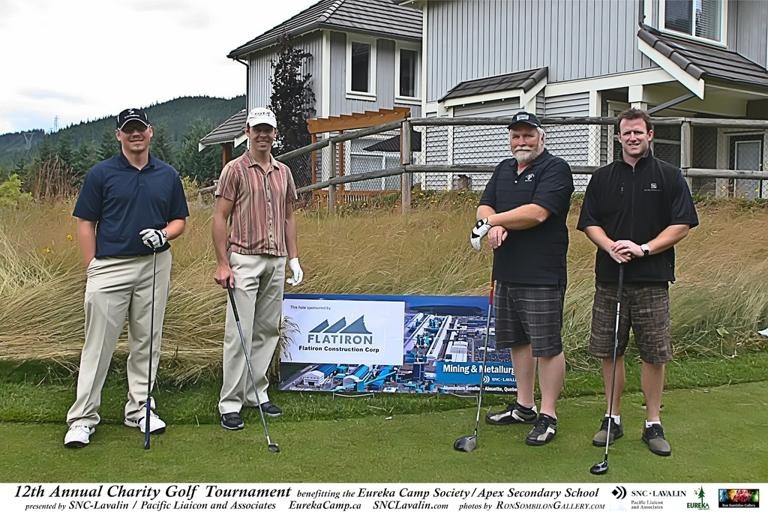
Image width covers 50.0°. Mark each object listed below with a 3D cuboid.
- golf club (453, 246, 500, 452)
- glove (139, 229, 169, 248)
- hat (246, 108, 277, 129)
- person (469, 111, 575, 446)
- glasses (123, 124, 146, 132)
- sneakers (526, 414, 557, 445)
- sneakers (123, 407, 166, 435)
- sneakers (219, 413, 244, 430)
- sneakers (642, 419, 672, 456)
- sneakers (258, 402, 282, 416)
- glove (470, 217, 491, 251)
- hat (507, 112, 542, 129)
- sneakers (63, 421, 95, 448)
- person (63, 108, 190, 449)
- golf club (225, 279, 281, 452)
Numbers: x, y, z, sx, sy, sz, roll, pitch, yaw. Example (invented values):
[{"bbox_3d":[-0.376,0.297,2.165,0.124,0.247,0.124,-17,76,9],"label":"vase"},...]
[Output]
[{"bbox_3d":[0.899,0.976,7.998,0.266,0.372,2.101,4,48,14],"label":"golf club"},{"bbox_3d":[-1.996,-0.156,7.206,0.193,0.152,0.104,10,24,19],"label":"glove"},{"bbox_3d":[-1.135,-1.283,7.671,0.248,0.183,0.202,0,7,-4],"label":"hat"},{"bbox_3d":[1.241,0.155,7.410,0.803,2.854,0.774,2,7,18],"label":"person"},{"bbox_3d":[-2.197,-1.118,7.301,0.203,0.073,0.046,-3,7,-20],"label":"glasses"},{"bbox_3d":[1.405,1.509,7.239,0.381,0.237,0.155,-7,10,-43],"label":"sneakers"},{"bbox_3d":[-2.104,1.468,7.319,0.399,0.197,0.163,0,-6,22],"label":"sneakers"},{"bbox_3d":[-1.356,1.485,7.409,0.100,0.105,0.237,3,-4,-38],"label":"sneakers"},{"bbox_3d":[2.322,1.549,7.041,0.238,0.215,0.282,3,8,17],"label":"sneakers"},{"bbox_3d":[-1.044,1.426,7.667,0.258,0.105,0.107,2,3,40],"label":"sneakers"},{"bbox_3d":[0.835,-0.197,7.295,0.107,0.308,0.172,0,-35,33],"label":"glove"},{"bbox_3d":[1.259,-1.222,7.423,0.294,0.152,0.333,3,8,23],"label":"hat"},{"bbox_3d":[-2.612,1.530,7.065,0.183,0.166,0.203,0,7,-5],"label":"sneakers"},{"bbox_3d":[-2.283,0.138,7.321,1.085,2.846,0.706,-2,7,-21],"label":"person"},{"bbox_3d":[-1.214,0.997,7.592,0.122,1.465,0.197,-10,-15,-24],"label":"golf club"}]
